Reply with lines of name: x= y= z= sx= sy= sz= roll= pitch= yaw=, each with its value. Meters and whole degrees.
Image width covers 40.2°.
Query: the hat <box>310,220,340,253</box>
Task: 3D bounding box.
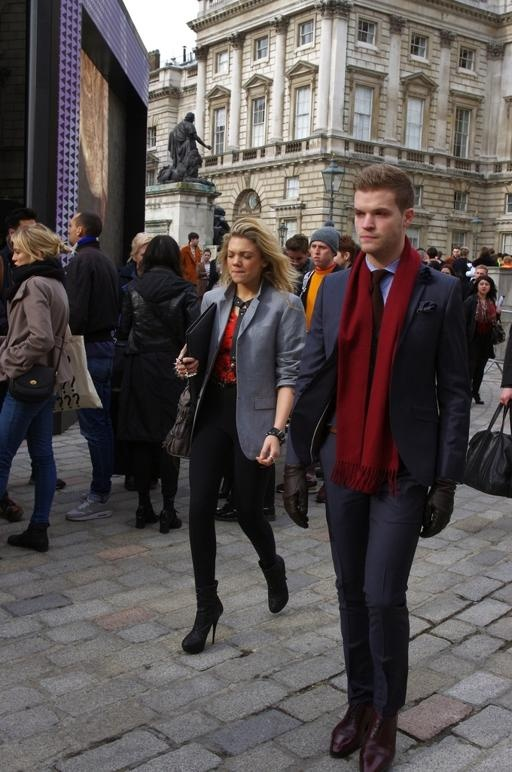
hat: x=0.604 y=-1.258 z=5.843 sx=0.210 sy=0.241 sz=0.289 roll=3 pitch=6 yaw=29

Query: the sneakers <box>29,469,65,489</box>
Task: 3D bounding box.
sneakers: x=-1.748 y=0.746 z=5.834 sx=0.176 sy=0.213 sz=0.513 roll=1 pitch=-3 yaw=-30

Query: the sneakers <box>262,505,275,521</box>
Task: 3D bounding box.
sneakers: x=0.095 y=0.908 z=5.028 sx=0.051 sy=0.103 sz=0.150 roll=0 pitch=10 yaw=-1

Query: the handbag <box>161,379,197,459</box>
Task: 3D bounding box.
handbag: x=-0.334 y=0.142 z=3.053 sx=0.116 sy=0.368 sz=0.296 roll=1 pitch=2 yaw=-8

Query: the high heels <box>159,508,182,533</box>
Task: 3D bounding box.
high heels: x=-0.575 y=0.904 z=4.776 sx=0.079 sy=0.120 sz=0.232 roll=2 pitch=7 yaw=13

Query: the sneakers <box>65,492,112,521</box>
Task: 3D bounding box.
sneakers: x=-1.189 y=0.865 z=5.020 sx=0.349 sy=0.164 sz=0.132 roll=-2 pitch=-1 yaw=-32

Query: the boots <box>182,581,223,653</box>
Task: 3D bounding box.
boots: x=-0.224 y=0.965 z=2.968 sx=0.126 sy=0.263 sz=0.260 roll=2 pitch=2 yaw=25

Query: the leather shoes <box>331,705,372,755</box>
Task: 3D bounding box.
leather shoes: x=0.299 y=1.017 z=2.148 sx=0.072 sy=0.089 sz=0.217 roll=9 pitch=14 yaw=28

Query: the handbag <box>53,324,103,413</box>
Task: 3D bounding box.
handbag: x=-1.180 y=-0.128 z=4.597 sx=0.204 sy=0.593 sz=0.558 roll=-4 pitch=-5 yaw=-34

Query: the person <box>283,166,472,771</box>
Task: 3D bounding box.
person: x=0.370 y=0.218 z=2.147 sx=0.376 sy=1.774 sz=0.528 roll=0 pitch=2 yaw=-35

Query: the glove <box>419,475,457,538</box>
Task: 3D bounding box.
glove: x=0.525 y=0.362 z=2.032 sx=0.094 sy=0.192 sz=0.200 roll=2 pitch=2 yaw=14
